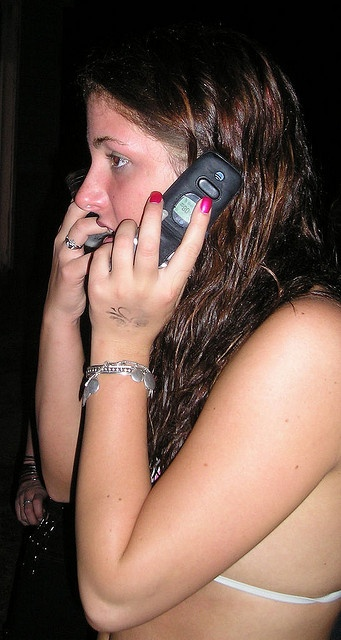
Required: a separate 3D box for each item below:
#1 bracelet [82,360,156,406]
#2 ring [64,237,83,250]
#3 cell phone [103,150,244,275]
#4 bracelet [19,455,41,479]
[{"bbox_3d":[-0.080,0.102,0.845,0.108,0.068,0.058,6,41,-9],"label":"bracelet"},{"bbox_3d":[-0.199,-0.156,1.112,0.022,0.018,0.030,23,0,-25],"label":"ring"},{"bbox_3d":[-0.036,-0.164,1.009,0.062,0.125,0.268,-22,63,10],"label":"cell phone"},{"bbox_3d":[-0.354,0.374,1.378,0.046,0.064,0.085,0,74,-14],"label":"bracelet"}]
